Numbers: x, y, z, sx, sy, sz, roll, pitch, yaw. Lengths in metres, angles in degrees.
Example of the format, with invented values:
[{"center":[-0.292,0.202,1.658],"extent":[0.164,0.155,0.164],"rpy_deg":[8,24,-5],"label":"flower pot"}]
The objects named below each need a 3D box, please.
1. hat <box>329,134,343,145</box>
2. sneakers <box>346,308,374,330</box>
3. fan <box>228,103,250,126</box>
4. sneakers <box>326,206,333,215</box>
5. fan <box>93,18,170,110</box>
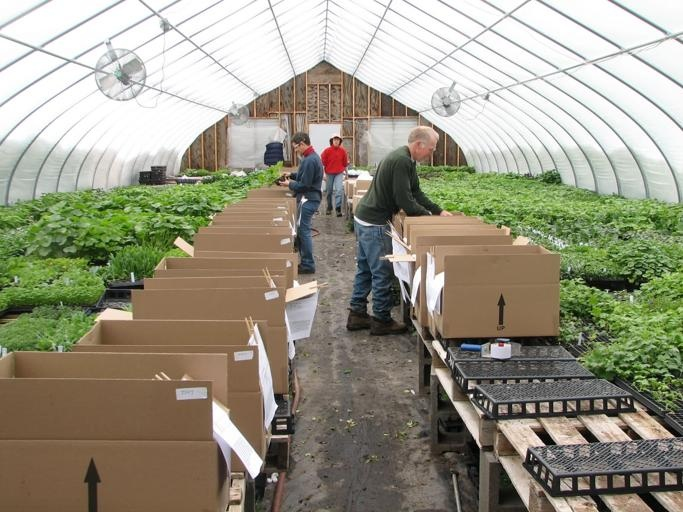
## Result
[{"center":[-0.135,-3.162,14.014],"extent":[0.278,0.251,0.573],"rpy_deg":[-2,6,-9],"label":"hat"},{"center":[0.257,0.786,6.362],"extent":[0.364,0.219,0.178],"rpy_deg":[-7,11,-30],"label":"sneakers"},{"center":[-3.067,-4.421,15.770],"extent":[0.804,0.753,0.182],"rpy_deg":[-1,0,20],"label":"fan"},{"center":[-0.371,-1.389,15.825],"extent":[0.132,0.233,0.240],"rpy_deg":[1,-11,8],"label":"sneakers"},{"center":[-3.814,-3.168,8.810],"extent":[0.975,1.167,0.384],"rpy_deg":[-30,20,-9],"label":"fan"}]
